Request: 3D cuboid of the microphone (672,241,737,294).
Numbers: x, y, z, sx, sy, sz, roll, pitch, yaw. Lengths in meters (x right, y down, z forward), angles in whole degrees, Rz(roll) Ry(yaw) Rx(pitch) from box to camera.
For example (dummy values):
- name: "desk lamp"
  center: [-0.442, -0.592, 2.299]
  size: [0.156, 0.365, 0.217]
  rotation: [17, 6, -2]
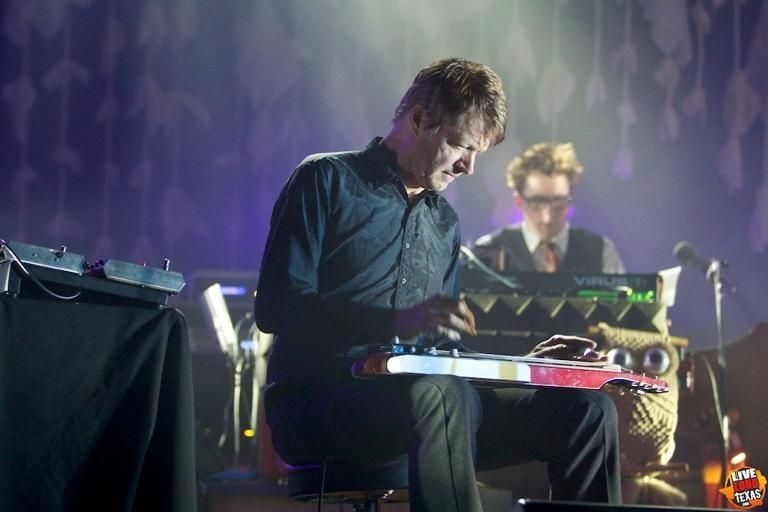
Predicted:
- name: "microphone"
  center: [2.621, 0.112, 7.882]
  size: [0.121, 0.107, 0.421]
  rotation: [-33, 31, -12]

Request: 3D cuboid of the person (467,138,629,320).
- name: "person"
  center: [1.397, -0.313, 8.137]
  size: [1.288, 1.177, 0.667]
  rotation: [-3, 9, 14]
